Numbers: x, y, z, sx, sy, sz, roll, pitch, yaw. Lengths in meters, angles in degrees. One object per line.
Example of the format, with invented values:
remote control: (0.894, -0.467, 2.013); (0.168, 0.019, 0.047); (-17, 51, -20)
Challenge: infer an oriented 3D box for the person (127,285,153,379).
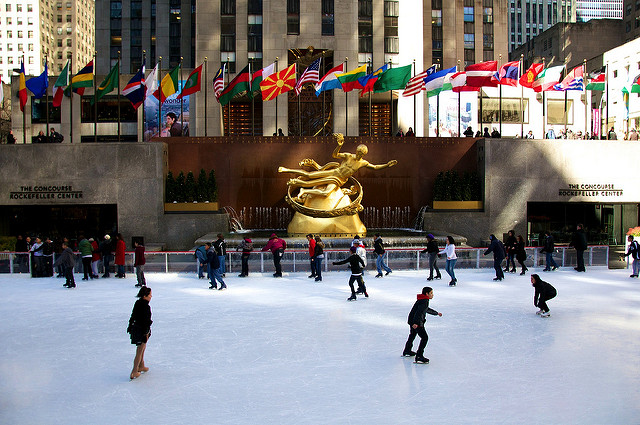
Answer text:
person: (-8.265, 5.368, 42.407); (1.041, 4.139, 1.167); (-2, 2, -11)
